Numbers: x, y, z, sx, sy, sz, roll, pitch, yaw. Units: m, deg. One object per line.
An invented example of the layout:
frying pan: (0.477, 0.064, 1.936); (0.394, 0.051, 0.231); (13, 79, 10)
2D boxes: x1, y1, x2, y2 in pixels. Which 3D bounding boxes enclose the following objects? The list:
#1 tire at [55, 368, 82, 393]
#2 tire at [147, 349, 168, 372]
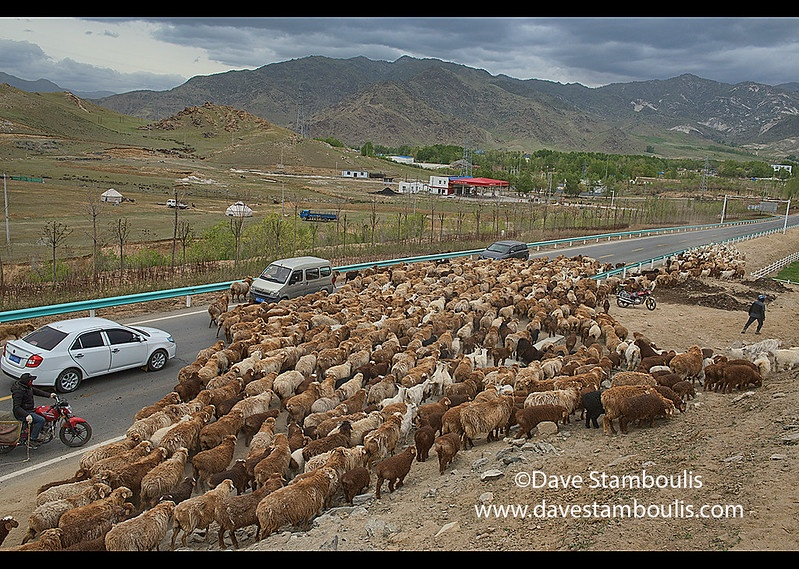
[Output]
tire: (-10.398, 2.938, 15.804); (0.257, 0.660, 0.708); (17, 34, 32)
tire: (-8.649, 2.646, 17.950); (0.253, 0.700, 0.784); (9, -7, 38)
